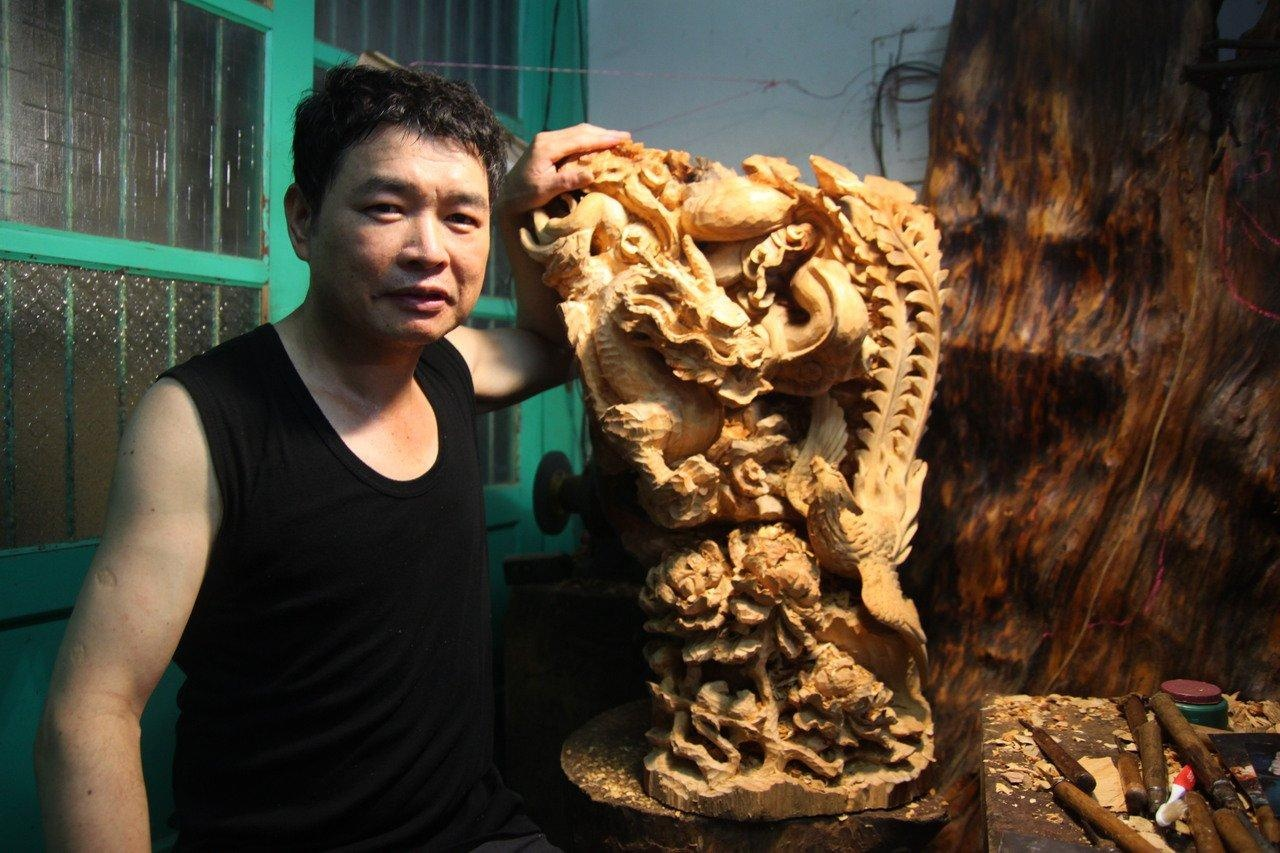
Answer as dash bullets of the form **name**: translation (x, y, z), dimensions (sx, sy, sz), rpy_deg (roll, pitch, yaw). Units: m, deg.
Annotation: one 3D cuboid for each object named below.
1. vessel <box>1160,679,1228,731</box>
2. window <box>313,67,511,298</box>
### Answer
- **vessel**: translation (1.539, 0.746, 3.344), dimensions (0.125, 0.089, 0.130), rpy_deg (4, 8, 44)
- **window**: translation (-0.512, -0.595, 2.776), dimensions (0.301, 0.379, 0.380), rpy_deg (5, 3, 23)
